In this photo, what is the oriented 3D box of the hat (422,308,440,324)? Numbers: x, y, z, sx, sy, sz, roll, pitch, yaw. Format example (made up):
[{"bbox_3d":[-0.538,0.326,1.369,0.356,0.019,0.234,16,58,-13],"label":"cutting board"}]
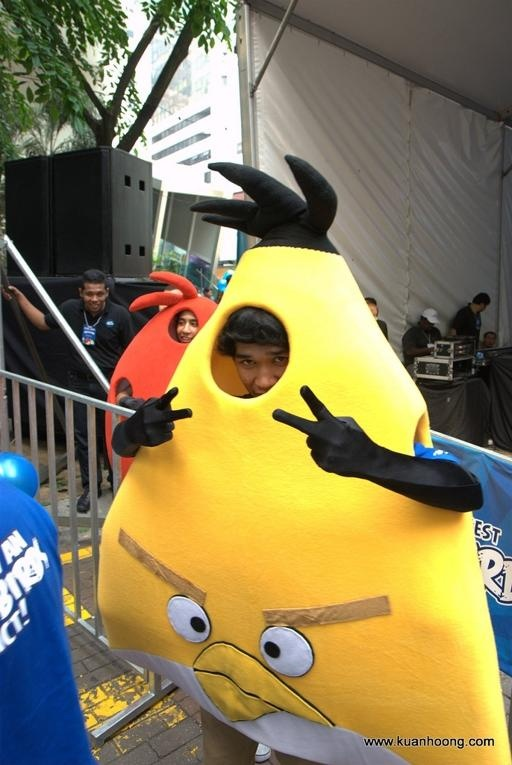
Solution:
[{"bbox_3d":[1.940,-0.745,6.919,0.160,0.111,0.204,-1,29,-25],"label":"hat"}]

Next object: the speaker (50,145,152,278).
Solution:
[{"bbox_3d":[-1.583,-1.667,6.143,1.017,1.136,0.996,-12,19,-38],"label":"speaker"}]

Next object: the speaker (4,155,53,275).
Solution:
[{"bbox_3d":[-2.256,-1.652,6.086,0.647,1.123,0.207,11,6,25],"label":"speaker"}]
